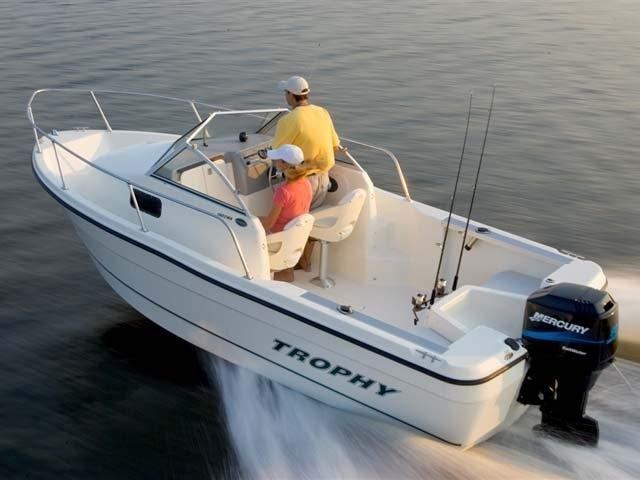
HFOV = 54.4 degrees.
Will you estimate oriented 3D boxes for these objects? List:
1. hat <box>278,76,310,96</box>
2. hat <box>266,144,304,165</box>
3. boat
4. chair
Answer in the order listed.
[{"bbox_3d":[-0.229,-1.299,5.316,0.246,0.141,0.328,-15,29,-29],"label":"hat"},{"bbox_3d":[-0.270,-0.674,4.999,0.297,0.086,0.153,12,34,14],"label":"hat"},{"bbox_3d":[0.319,0.268,5.684,6.118,2.116,2.311,19,32,22],"label":"boat"},{"bbox_3d":[-0.021,-0.031,5.372,0.844,0.725,0.586,27,42,20],"label":"chair"}]
